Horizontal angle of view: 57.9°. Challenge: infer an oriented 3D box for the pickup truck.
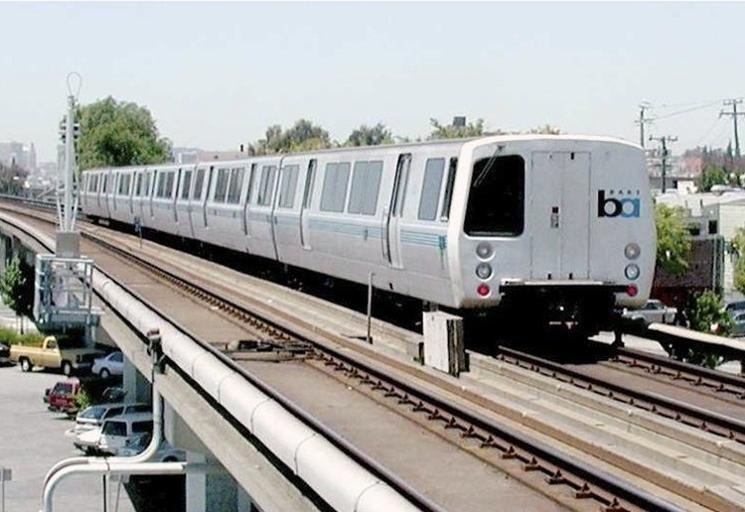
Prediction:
[{"bbox_3d":[-22.239,7.515,47.779,6.269,2.472,3.196,1,2,31],"label":"pickup truck"}]
